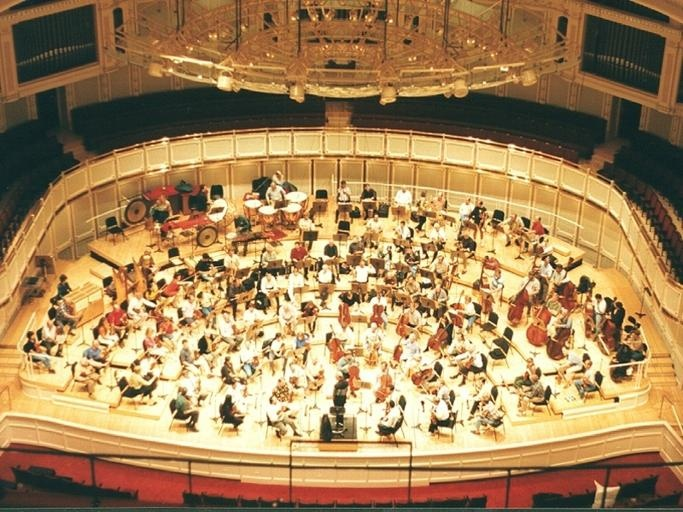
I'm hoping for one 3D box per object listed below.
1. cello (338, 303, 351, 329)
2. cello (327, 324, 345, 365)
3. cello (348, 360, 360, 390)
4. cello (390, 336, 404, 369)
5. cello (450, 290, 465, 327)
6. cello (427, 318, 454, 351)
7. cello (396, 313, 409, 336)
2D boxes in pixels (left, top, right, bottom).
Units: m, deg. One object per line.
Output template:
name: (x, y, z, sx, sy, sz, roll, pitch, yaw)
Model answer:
cello: (0.122, 1.825, 18.497, 0.351, 0.692, 0.203, -3, 6, -30)
cello: (-0.159, 2.617, 17.674, 0.485, 1.056, 0.326, -4, -3, -18)
cello: (0.362, 3.407, 16.829, 0.303, 0.436, 0.784, -2, -47, 3)
cello: (1.714, 2.888, 17.987, 0.177, 0.731, 0.411, 17, -8, 0)
cello: (3.559, 1.544, 18.107, 0.362, 1.181, 0.605, 6, -9, -23)
cello: (3.012, 2.461, 18.029, 0.536, 1.063, 0.370, 21, 0, 31)
cello: (1.888, 2.109, 18.530, 0.222, 0.719, 0.365, -2, -7, -7)
